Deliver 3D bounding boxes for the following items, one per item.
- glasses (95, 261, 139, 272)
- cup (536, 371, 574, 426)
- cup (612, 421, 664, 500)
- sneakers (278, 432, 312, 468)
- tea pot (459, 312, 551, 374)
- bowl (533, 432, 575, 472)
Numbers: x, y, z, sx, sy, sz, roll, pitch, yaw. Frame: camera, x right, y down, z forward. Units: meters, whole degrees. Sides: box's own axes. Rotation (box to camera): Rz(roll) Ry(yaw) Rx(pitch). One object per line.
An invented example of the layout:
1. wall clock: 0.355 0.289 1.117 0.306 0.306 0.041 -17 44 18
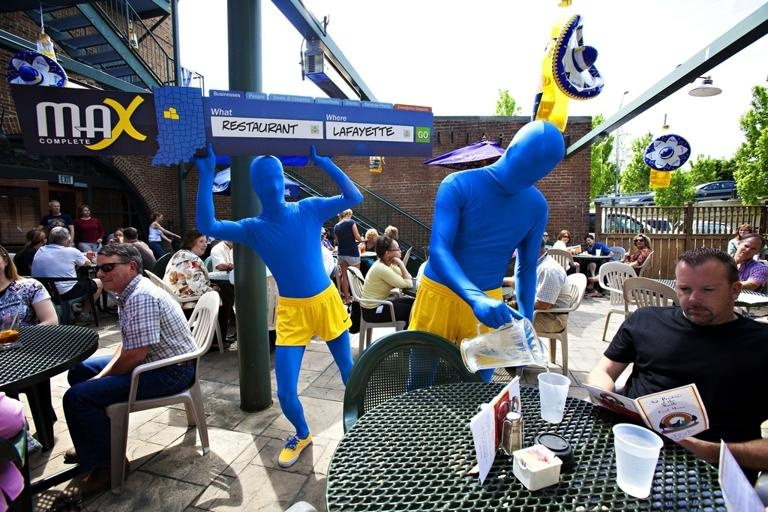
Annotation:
1. glasses: -1.982 0.078 3.583 0.243 0.078 0.082 -2 7 -17
2. cup: 0.942 0.773 2.717 0.226 0.272 0.262 -1 3 -18
3. cup: 1.272 1.051 2.498 0.224 0.351 0.267 5 6 21
4. sneakers: -0.716 1.530 3.820 0.124 0.130 0.339 7 0 20
5. tea pot: 0.670 0.472 2.749 0.406 0.301 0.452 0 4 -33
6. bowl: 0.911 1.047 2.630 0.247 0.082 0.245 9 10 -2
